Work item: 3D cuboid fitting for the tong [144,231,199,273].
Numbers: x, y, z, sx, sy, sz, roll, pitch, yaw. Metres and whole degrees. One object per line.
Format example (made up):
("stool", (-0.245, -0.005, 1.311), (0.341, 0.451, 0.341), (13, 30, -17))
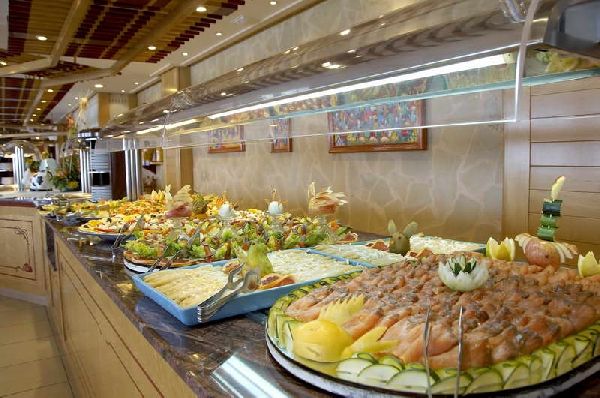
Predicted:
("tong", (-0.497, 0.204, 1.494), (0.086, 0.043, 0.400), (-7, 21, 25))

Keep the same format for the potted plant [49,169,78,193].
("potted plant", (-3.388, -0.254, 4.905), (0.341, 0.315, 0.375), (-4, 5, -30))

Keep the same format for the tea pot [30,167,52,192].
("tea pot", (-3.661, -0.257, 4.788), (0.377, 0.316, 0.155), (0, 5, 18))

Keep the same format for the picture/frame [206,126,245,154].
("picture/frame", (-0.380, -0.309, 1.733), (0.241, 0.147, 0.021), (3, 2, 34))

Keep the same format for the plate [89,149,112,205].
("plate", (-2.538, -0.276, 4.331), (0.253, 0.583, 0.285), (-4, 5, -30))

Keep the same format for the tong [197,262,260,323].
("tong", (-0.224, 0.300, 1.074), (0.054, 0.093, 0.295), (26, 29, 21))
